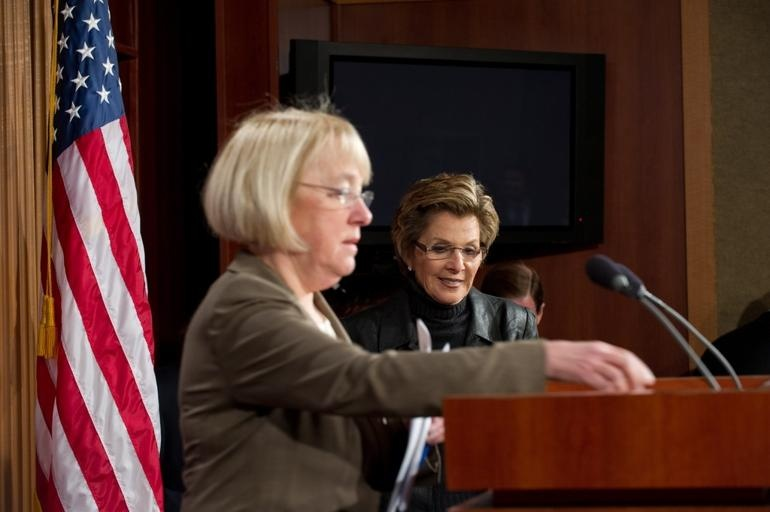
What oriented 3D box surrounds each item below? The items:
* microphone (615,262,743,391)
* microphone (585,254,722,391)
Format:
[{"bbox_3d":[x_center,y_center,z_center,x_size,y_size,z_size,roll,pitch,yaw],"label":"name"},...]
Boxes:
[{"bbox_3d":[1.765,0.395,4.513,1.006,0.215,0.112,50,4,12],"label":"microphone"},{"bbox_3d":[1.573,0.341,4.348,0.932,0.256,0.211,48,-16,17],"label":"microphone"}]
